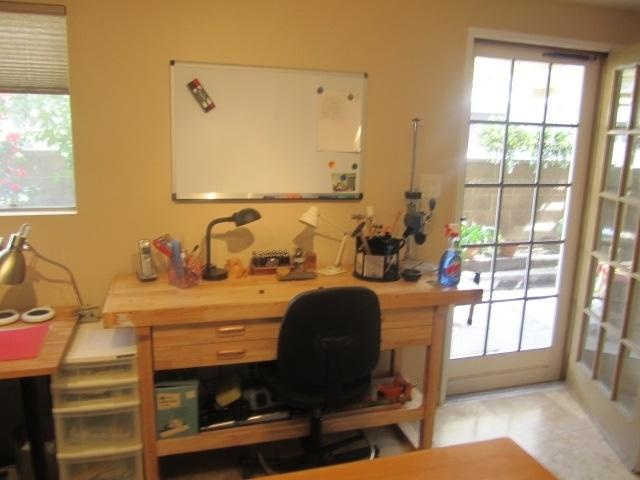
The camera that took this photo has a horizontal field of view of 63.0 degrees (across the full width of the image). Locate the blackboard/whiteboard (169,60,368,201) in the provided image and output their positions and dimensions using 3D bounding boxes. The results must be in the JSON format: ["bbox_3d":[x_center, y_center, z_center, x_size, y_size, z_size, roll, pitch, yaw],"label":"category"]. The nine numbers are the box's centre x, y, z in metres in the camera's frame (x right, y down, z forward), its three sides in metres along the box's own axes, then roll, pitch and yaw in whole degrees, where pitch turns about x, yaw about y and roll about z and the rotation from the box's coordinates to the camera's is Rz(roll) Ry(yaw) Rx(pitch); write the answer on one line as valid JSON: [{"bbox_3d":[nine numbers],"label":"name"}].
[{"bbox_3d":[-0.294,-0.643,3.236,1.203,0.793,0.045,0,7,-19],"label":"blackboard/whiteboard"}]

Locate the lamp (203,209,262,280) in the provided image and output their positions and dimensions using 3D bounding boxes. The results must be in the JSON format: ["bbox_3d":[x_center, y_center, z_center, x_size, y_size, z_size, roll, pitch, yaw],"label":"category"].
[{"bbox_3d":[-0.540,0.011,3.131,0.329,0.432,0.284,-1,11,-11],"label":"lamp"}]

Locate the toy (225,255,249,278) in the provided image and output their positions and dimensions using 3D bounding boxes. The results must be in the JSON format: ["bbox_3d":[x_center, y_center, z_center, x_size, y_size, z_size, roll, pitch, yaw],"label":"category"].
[{"bbox_3d":[-0.513,0.173,3.215,0.122,0.118,0.125,5,20,14],"label":"toy"}]

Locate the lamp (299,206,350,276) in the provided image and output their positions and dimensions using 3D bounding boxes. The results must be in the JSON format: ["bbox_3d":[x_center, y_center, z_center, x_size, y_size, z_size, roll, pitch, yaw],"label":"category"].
[{"bbox_3d":[0.036,-0.007,3.276,0.331,0.424,0.316,1,11,-3],"label":"lamp"}]

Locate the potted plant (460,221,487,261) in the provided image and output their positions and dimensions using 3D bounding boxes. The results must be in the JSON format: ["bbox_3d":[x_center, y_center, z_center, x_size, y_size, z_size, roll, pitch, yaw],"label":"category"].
[{"bbox_3d":[1.072,-0.002,3.674,0.216,0.269,0.087,8,3,4],"label":"potted plant"}]
